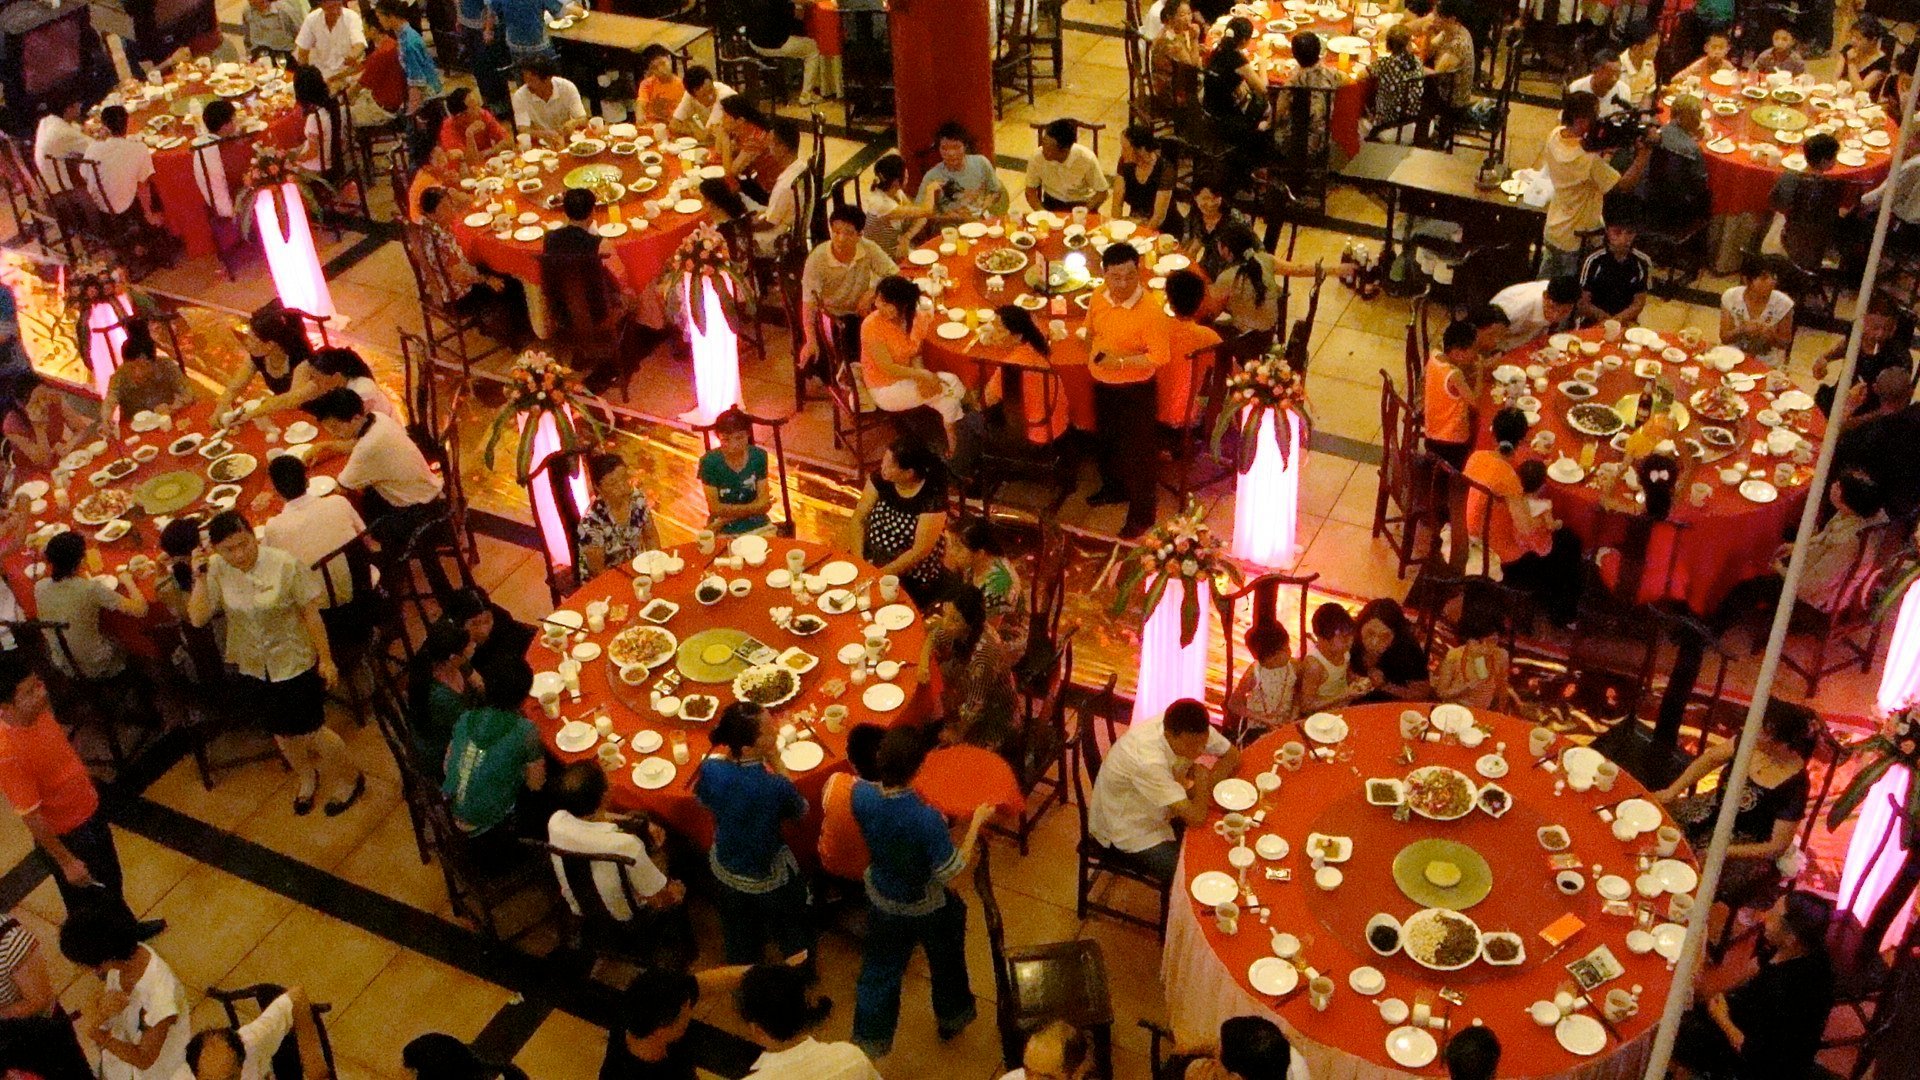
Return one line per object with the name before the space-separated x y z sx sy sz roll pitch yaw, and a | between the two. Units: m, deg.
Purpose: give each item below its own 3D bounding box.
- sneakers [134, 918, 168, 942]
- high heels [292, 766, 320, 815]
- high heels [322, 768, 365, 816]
sneakers | -5.291 2.518 8.916 0.176 0.093 0.117 2 24 -6
high heels | -4.552 1.713 9.455 0.139 0.379 0.145 -2 1 3
high heels | -4.250 1.756 9.510 0.163 0.126 0.325 32 68 7
